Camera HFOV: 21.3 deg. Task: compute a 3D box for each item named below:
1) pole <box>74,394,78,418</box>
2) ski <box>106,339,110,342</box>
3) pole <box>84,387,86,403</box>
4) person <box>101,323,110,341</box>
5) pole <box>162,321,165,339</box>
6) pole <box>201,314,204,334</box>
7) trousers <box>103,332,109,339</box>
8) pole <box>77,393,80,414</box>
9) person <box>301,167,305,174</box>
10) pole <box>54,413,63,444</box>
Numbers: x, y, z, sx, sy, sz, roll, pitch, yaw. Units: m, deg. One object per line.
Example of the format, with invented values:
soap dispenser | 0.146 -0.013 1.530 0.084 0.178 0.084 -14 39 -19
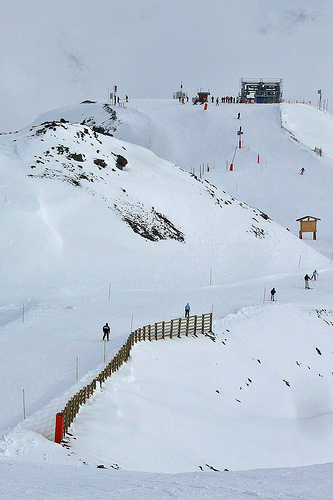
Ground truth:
pole | -3.495 6.031 33.702 0.045 0.881 0.317 3 3 6
ski | -2.968 4.635 44.457 0.135 0.052 0.500 6 4 19
pole | -3.245 5.769 34.774 0.057 0.671 0.355 3 3 -4
person | -3.083 4.171 44.661 0.377 0.893 1.372 3 3 -4
pole | -0.166 4.232 46.117 0.159 0.842 0.464 3 3 0
pole | 1.986 4.062 47.636 0.144 1.066 0.496 3 3 3
trousers | -3.075 4.336 44.319 0.265 0.379 0.669 4 3 -5
pole | -3.431 5.948 34.028 0.064 0.773 0.347 3 3 -2
person | 17.710 -10.077 112.950 0.253 0.812 0.717 6 8 7
pole | -3.862 6.382 31.408 0.252 1.076 0.556 3 3 -8
